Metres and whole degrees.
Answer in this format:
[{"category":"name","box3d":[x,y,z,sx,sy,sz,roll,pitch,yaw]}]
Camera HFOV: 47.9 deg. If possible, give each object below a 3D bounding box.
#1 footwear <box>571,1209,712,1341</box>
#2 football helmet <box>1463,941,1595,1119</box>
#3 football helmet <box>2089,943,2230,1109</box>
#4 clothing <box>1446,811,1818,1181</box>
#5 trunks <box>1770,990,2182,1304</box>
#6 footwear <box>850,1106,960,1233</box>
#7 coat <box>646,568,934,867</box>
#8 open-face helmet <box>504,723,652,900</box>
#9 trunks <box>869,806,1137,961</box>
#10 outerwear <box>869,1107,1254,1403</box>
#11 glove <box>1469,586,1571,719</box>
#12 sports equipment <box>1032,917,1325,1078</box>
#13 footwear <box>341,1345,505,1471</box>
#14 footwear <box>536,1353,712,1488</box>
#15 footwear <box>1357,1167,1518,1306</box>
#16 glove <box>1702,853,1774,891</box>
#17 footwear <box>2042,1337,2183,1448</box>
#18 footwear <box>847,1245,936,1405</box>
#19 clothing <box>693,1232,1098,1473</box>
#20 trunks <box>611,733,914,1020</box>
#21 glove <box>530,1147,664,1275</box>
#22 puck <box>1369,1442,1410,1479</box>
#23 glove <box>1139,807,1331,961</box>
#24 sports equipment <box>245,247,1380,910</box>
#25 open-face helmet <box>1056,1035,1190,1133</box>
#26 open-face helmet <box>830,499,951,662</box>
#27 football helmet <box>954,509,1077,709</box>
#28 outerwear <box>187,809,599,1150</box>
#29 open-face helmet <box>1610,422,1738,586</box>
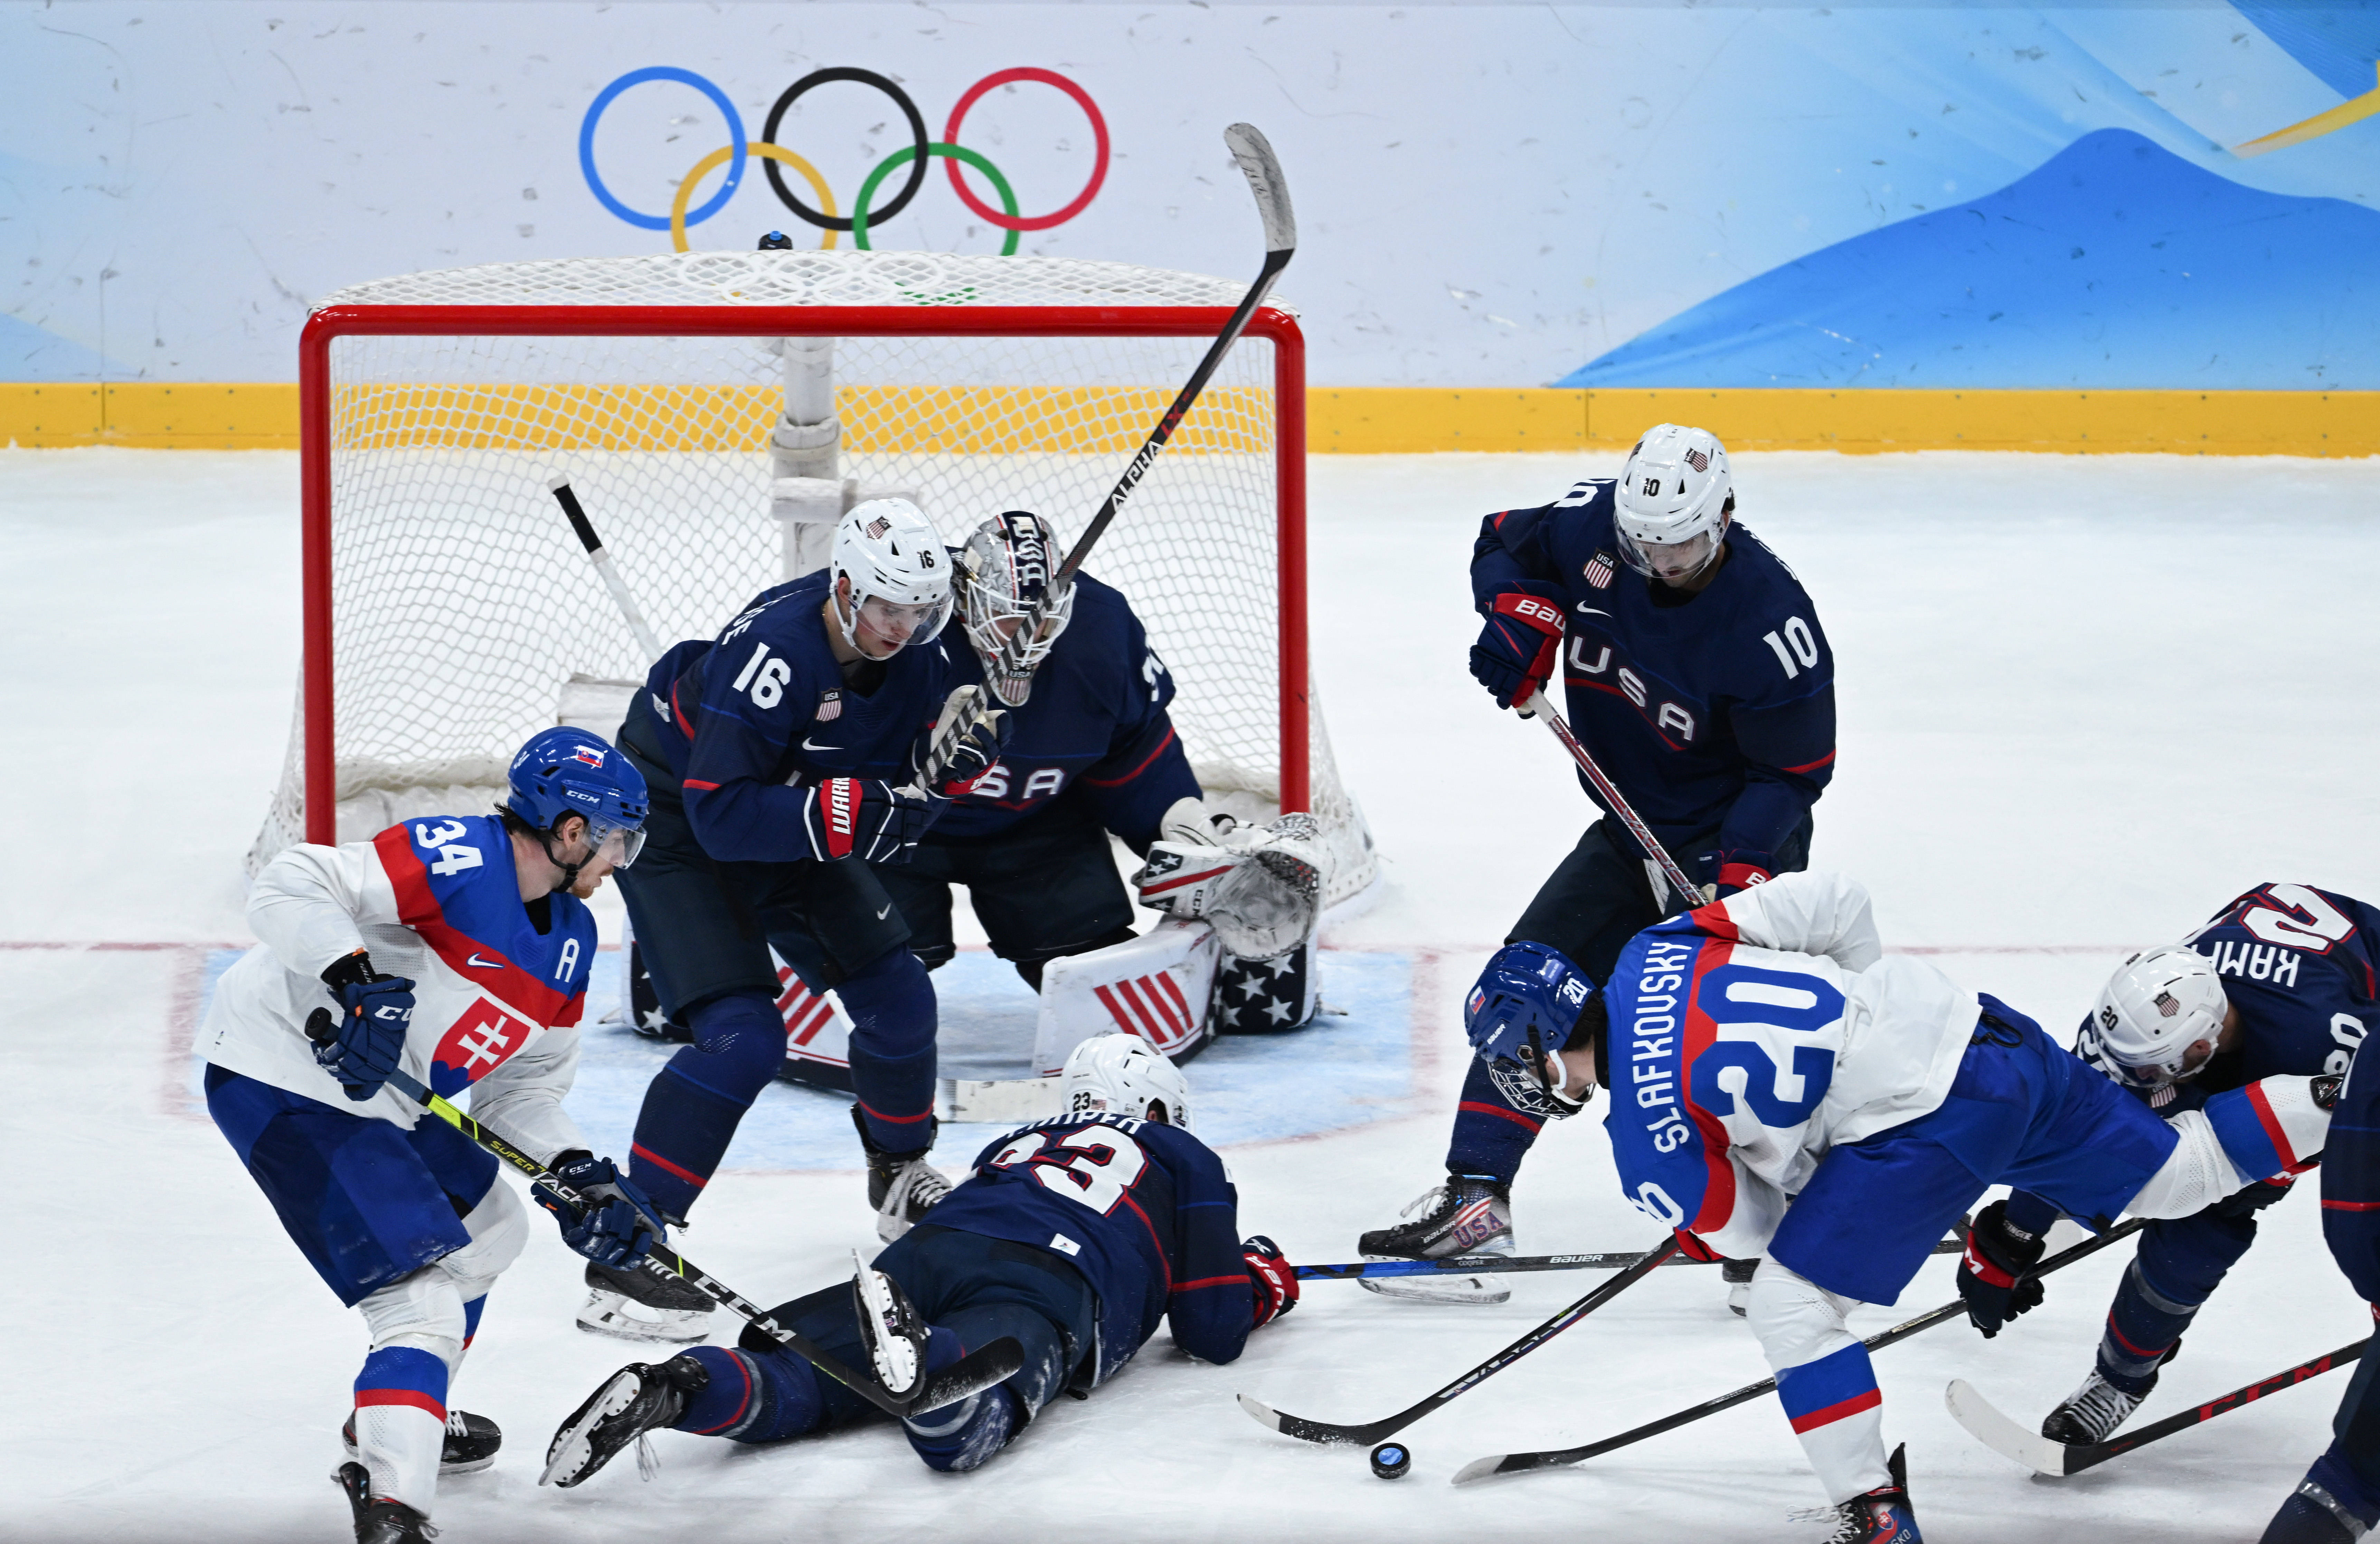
[{"category":"footwear","box3d":[-1.046,0.986,5.255,0.259,0.244,0.078,12,13,-5]},{"category":"football helmet","box3d":[0.610,0.463,4.855,0.211,0.317,0.201,-1,5,-16]},{"category":"football helmet","box3d":[1.752,0.462,4.959,0.286,0.228,0.261,-23,-36,0]},{"category":"clothing","box3d":[0.818,0.379,5.628,0.651,0.855,0.318,8,-36,-6]},{"category":"trunks","box3d":[1.351,0.664,4.513,0.642,0.566,0.222,12,-21,1]},{"category":"footwear","box3d":[-0.563,0.854,5.673,0.311,0.280,0.111,4,12,44]},{"category":"coat","box3d":[-0.839,-0.118,5.578,0.673,0.606,0.446,0,5,-6]},{"category":"open-face helmet","box3d":[-1.160,0.049,4.913,0.319,0.342,0.274,0,17,-21]},{"category":"trunks","box3d":[-0.404,0.272,6.424,0.473,0.422,0.169,-12,22,3]},{"category":"outerwear","box3d":[-0.245,0.871,5.170,0.714,0.379,0.972,9,1,24]},{"category":"glove","box3d":[0.726,-0.273,5.927,0.206,0.260,0.106,27,13,7]},{"category":"sports equipment","box3d":[-0.084,0.495,6.258,0.379,0.172,0.472,1,4,37]},{"category":"footwear","box3d":[-1.342,1.117,4.696,0.290,0.153,0.451,0,-3,-3]},{"category":"footwear","box3d":[-0.992,1.156,4.756,0.262,0.086,0.122,-37,-12,0]},{"category":"footwear","box3d":[0.451,0.967,5.508,0.404,0.257,0.162,4,-8,-3]},{"category":"glove","box3d":[1.147,0.204,5.600,0.114,0.070,0.085,-2,10,-18]},{"category":"footwear","box3d":[1.736,1.163,5.019,0.072,0.215,0.087,51,3,31]},{"category":"footwear","box3d":[-0.514,0.972,4.735,0.110,0.261,0.106,-31,-27,-2]},{"category":"clothing","box3d":[-0.480,1.050,4.845,0.368,0.238,0.656,9,15,37]},{"category":"trunks","box3d":[-0.918,0.181,5.774,0.587,0.643,0.541,-8,-8,-25]},{"category":"glove","box3d":[-1.064,0.789,4.884,0.193,0.235,0.116,-39,6,-6]},{"category":"puck","box3d":[0.371,1.240,4.862,0.081,0.052,0.055,-2,5,-30]},{"category":"glove","box3d":[0.149,0.261,6.350,0.468,0.285,0.207,19,18,-51]},{"category":"sports equipment","box3d":[-1.282,-0.876,8.467,3.669,1.720,2.125,0,10,-2]},{"category":"open-face helmet","box3d":[-0.125,0.589,5.286,0.221,0.194,0.172,-11,10,-31]},{"category":"open-face helmet","box3d":[-0.594,-0.407,5.396,0.240,0.293,0.183,0,5,-6]},{"category":"football helmet","box3d":[-0.402,-0.371,5.770,0.273,0.331,0.350,5,18,-28]},{"category":"outerwear","box3d":[-1.407,0.393,4.840,0.396,0.509,0.542,39,-1,29]},{"category":"open-face helmet","box3d":[1.012,-0.560,5.596,0.235,0.323,0.245,1,5,9]}]
